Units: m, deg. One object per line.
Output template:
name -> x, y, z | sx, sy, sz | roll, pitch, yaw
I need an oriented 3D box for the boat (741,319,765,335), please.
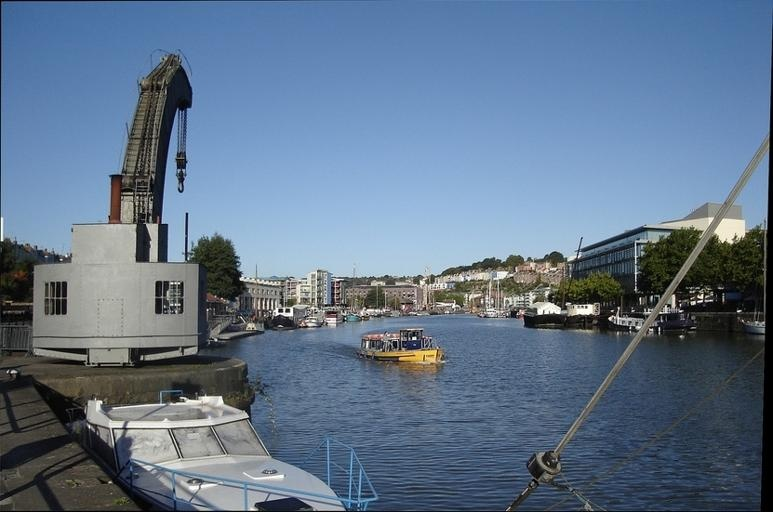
boat -> 52.743, 10.225, 103.940 | 1.533, 1.936, 9.029 | 6, -1, 17

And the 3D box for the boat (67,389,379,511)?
boat -> -8.460, 9.104, 32.933 | 12.738, 4.960, 5.127 | 6, -1, 33

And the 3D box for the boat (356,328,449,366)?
boat -> 1.716, 10.430, 83.407 | 4.072, 4.175, 11.469 | 7, -1, -35
